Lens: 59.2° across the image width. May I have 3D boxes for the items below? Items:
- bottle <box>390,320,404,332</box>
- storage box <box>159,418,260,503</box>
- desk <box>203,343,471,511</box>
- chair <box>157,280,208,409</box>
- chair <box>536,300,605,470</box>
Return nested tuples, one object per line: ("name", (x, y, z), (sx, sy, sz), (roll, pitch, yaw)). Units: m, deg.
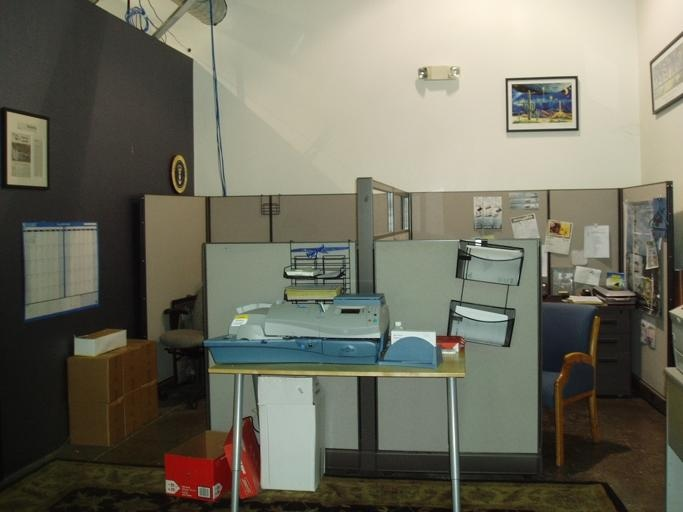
("bottle", (0.371, 0.460, 3.881), (0.084, 0.068, 0.087), (1, -3, 0))
("storage box", (-0.869, 1.421, 4.088), (0.557, 0.474, 0.645), (2, -1, 9))
("desk", (0.092, 0.762, 3.994), (1.579, 1.207, 0.885), (0, -4, 5))
("chair", (-1.354, 0.770, 5.611), (0.597, 1.030, 0.606), (1, -1, -13))
("chair", (1.634, 0.964, 4.720), (0.702, 1.097, 0.749), (-3, 2, -12))
